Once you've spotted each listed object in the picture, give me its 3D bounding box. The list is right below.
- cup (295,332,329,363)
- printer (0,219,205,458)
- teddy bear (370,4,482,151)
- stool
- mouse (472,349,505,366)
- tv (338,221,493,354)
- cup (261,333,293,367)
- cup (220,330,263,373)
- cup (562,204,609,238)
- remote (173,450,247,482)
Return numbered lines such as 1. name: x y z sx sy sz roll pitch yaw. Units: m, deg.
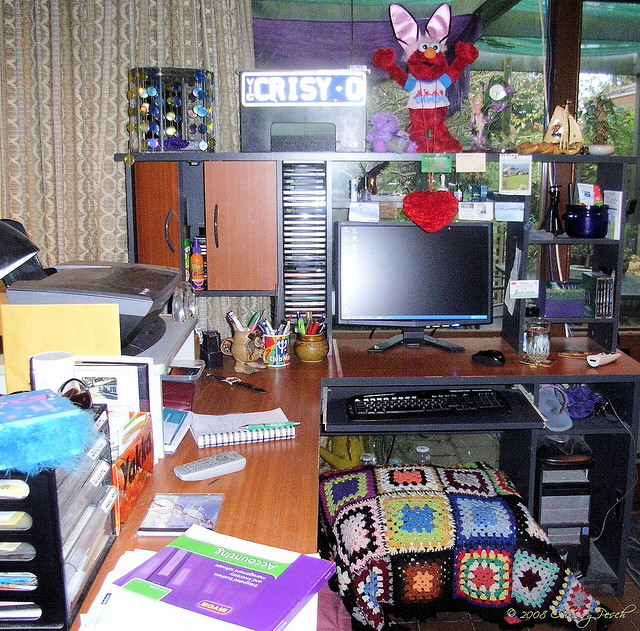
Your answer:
1. cup: -0.031 0.122 2.137 0.121 0.085 0.112 0 3 0
2. printer: -0.331 0.039 1.483 0.719 0.395 0.612 0 12 -6
3. teddy bear: 0.389 -0.876 2.121 0.296 0.533 0.229 11 17 44
4. stool: 0.295 0.683 1.755 0.548 0.227 0.499 0 13 0
5. mouse: 0.628 0.152 2.090 0.058 0.029 0.094 -7 12 -37
6. tv: 0.348 -0.113 2.232 0.686 0.480 0.208 -2 4 -22
7. cup: -0.156 0.131 2.117 0.122 0.105 0.114 0 7 0
8. cup: -0.302 0.116 2.098 0.163 0.119 0.097 0 3 14
9. cup: 0.989 -0.345 2.100 0.144 0.094 0.148 1 5 0
10. remote: -0.250 0.336 1.276 0.116 0.026 0.059 -6 12 -25
